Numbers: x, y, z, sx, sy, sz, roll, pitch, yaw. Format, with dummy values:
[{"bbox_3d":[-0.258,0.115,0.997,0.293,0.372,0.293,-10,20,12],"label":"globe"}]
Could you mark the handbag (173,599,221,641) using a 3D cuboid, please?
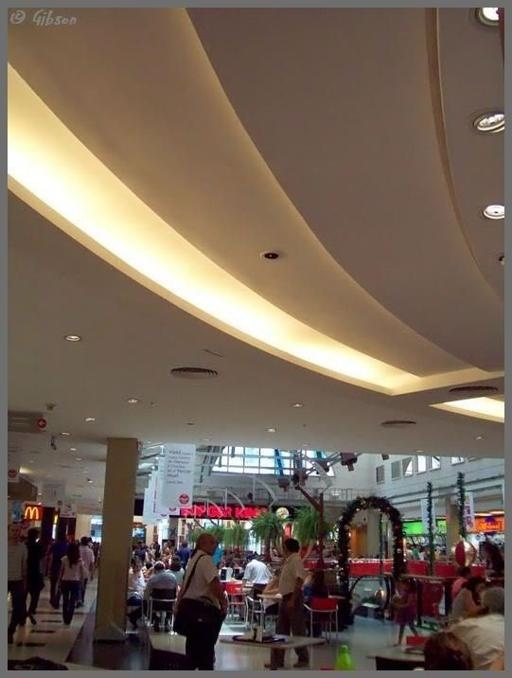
[{"bbox_3d":[-0.495,2.331,4.134,0.468,0.331,0.298,6,-5,-7],"label":"handbag"}]
